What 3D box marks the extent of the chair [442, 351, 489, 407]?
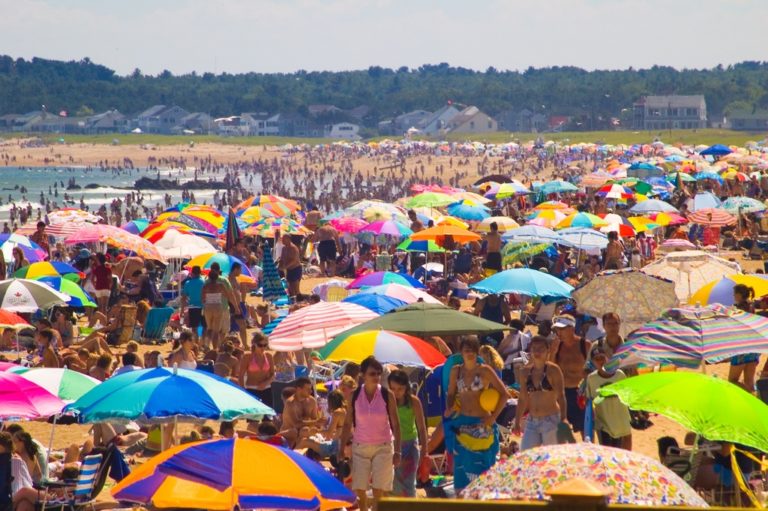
[{"bbox_3d":[1.276,2.047,20.548,0.610,1.100,1.370,-1,9,-1],"label":"chair"}]
